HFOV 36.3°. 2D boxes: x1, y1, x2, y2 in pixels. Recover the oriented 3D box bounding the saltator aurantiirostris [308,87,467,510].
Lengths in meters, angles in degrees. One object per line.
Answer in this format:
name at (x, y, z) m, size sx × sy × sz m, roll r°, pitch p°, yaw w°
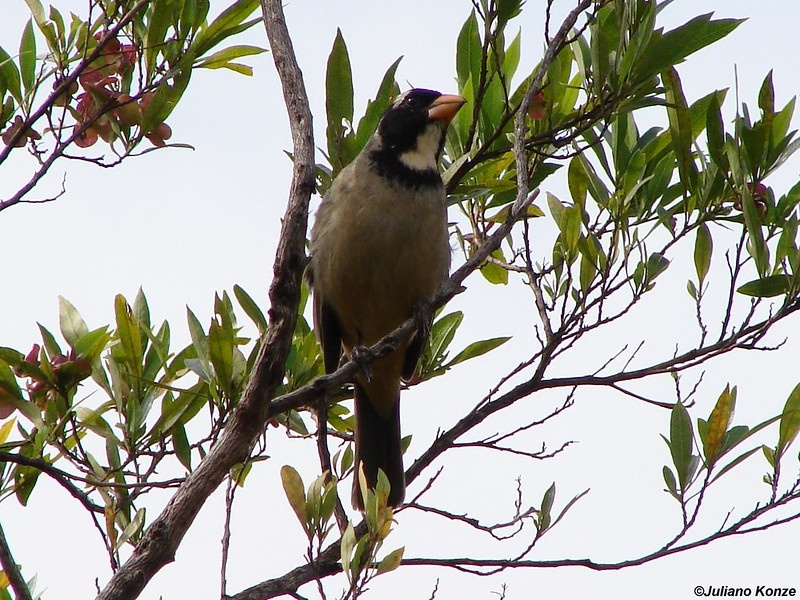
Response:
saltator aurantiirostris at (-0.025, -0.060, 6.037) m, size 0.611 × 0.867 × 2.225 m, roll 6°, pitch -79°, yaw -27°
